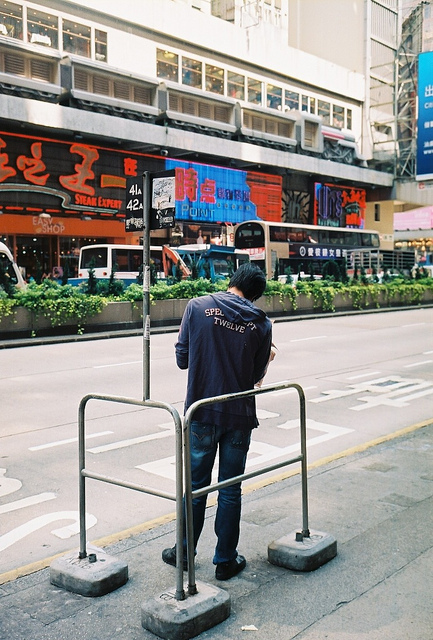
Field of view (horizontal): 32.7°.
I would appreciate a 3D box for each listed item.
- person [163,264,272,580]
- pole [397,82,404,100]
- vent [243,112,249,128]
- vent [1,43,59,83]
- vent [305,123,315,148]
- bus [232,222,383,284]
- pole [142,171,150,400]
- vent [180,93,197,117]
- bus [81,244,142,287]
[{"bbox_3d":[0.014,0.547,4.166,0.596,1.727,0.722,-1,2,4],"label":"person"},{"bbox_3d":[13.467,-16.945,53.928,0.221,1.735,0.135,21,-25,-13],"label":"pole"},{"bbox_3d":[1.601,-11.067,40.667,0.076,0.856,0.795,1,15,23],"label":"vent"},{"bbox_3d":[-7.200,-9.786,28.471,0.604,0.837,2.364,1,3,40],"label":"vent"},{"bbox_3d":[5.715,-11.357,45.294,0.274,1.322,0.778,1,3,38],"label":"vent"},{"bbox_3d":[4.353,-3.109,35.008,7.918,3.101,2.081,-5,6,-43],"label":"bus"},{"bbox_3d":[-0.490,-0.250,5.582,0.067,1.839,0.066,-2,-6,16],"label":"pole"},{"bbox_3d":[-1.430,-10.557,36.132,0.100,0.970,1.314,5,7,29],"label":"vent"},{"bbox_3d":[-3.794,-1.764,26.761,1.632,1.741,2.742,7,10,43],"label":"bus"}]
